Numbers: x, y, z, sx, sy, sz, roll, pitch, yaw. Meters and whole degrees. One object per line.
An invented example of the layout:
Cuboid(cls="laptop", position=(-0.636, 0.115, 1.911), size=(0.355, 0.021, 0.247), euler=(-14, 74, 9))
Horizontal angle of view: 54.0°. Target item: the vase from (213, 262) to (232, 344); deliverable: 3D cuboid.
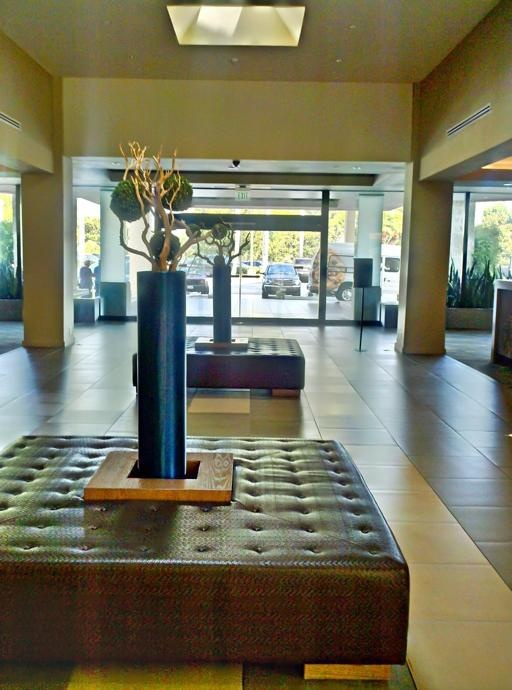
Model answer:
Cuboid(cls="vase", position=(-0.407, -0.548, 6.004), size=(0.215, 1.017, 0.370), euler=(0, 8, -10))

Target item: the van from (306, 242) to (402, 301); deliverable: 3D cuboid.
Cuboid(cls="van", position=(2.345, -1.803, 12.248), size=(2.035, 1.169, 1.250), euler=(-3, 13, 0))

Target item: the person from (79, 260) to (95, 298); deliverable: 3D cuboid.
Cuboid(cls="person", position=(-4.057, -1.605, 11.950), size=(0.295, 0.824, 0.301), euler=(-1, 8, -19))

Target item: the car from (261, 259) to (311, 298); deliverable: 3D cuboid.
Cuboid(cls="car", position=(0.769, -1.631, 12.280), size=(0.826, 0.686, 1.523), euler=(0, 5, 1))
